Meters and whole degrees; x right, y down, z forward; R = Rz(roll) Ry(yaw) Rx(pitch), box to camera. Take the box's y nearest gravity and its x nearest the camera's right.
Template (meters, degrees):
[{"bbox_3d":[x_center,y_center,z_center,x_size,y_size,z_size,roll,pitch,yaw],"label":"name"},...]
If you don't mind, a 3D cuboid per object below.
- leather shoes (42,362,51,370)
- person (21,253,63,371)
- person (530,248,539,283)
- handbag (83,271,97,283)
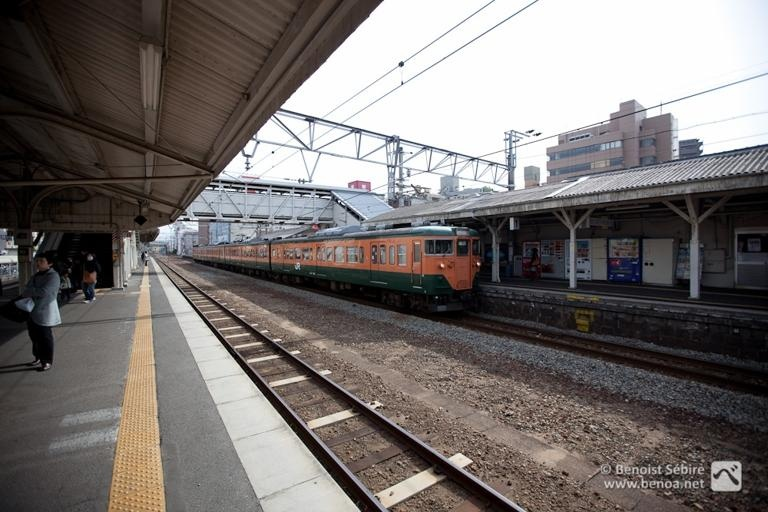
[{"bbox_3d":[-7.341,2.395,9.747,0.138,0.150,0.368,6,-14,-39],"label":"leather shoes"},{"bbox_3d":[-7.348,1.211,9.646,0.602,2.542,0.778,0,0,-38],"label":"person"},{"bbox_3d":[7.607,0.290,22.849,0.467,1.466,0.447,0,0,8],"label":"person"},{"bbox_3d":[-11.438,0.821,17.324,0.532,0.402,0.416,0,-3,0],"label":"handbag"}]
